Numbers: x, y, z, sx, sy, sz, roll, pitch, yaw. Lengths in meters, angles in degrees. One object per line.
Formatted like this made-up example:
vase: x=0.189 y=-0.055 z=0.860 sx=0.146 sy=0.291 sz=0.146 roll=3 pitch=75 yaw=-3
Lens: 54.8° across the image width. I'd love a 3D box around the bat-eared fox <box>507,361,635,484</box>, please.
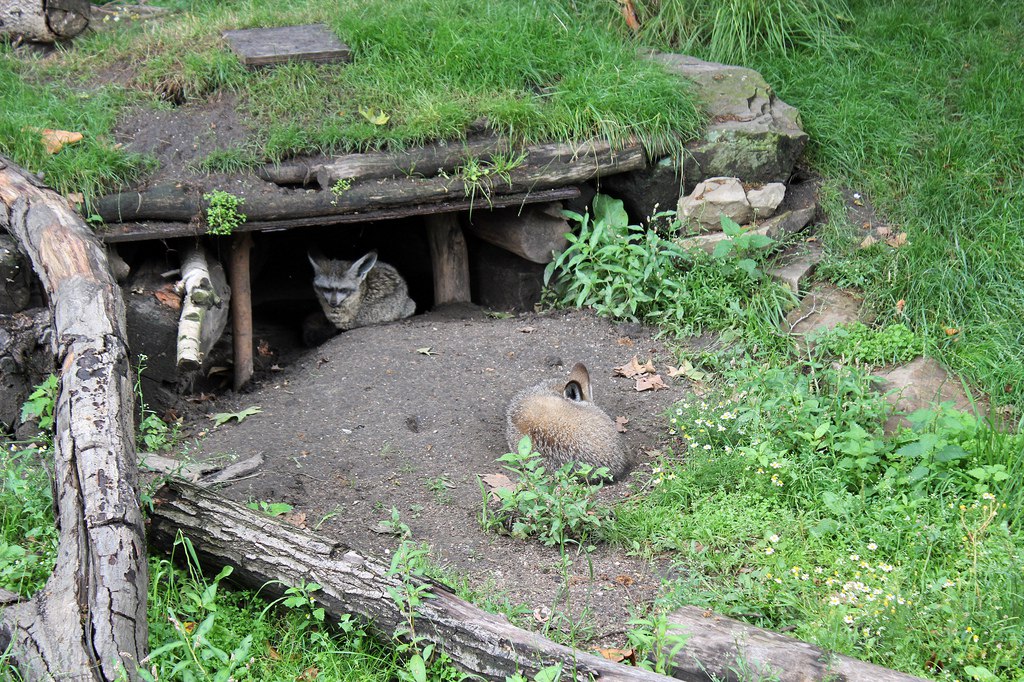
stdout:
bat-eared fox: x=0.437 y=0.672 z=7.755 sx=0.812 sy=0.589 sz=1.131 roll=-24 pitch=45 yaw=-29
